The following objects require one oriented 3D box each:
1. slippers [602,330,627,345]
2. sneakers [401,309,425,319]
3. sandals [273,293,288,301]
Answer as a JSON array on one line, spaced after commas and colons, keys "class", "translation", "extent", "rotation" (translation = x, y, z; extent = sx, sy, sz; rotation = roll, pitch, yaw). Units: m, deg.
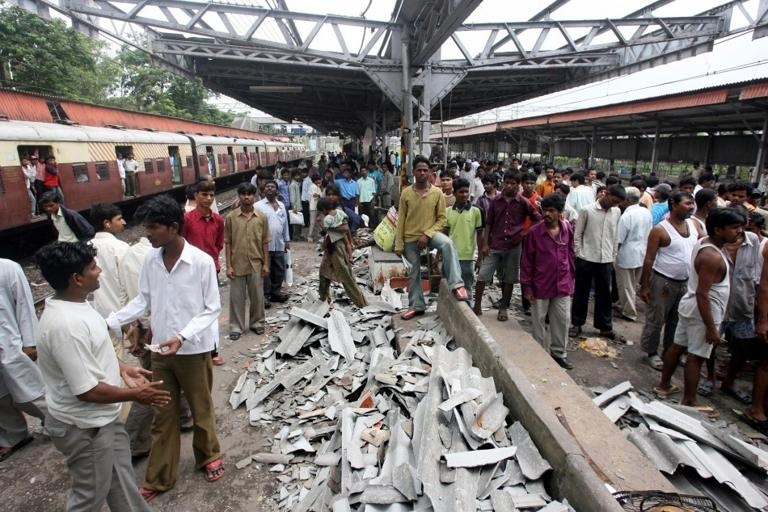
[{"class": "slippers", "translation": [3.628, 1.280, 6.893], "extent": [0.352, 0.149, 0.168], "rotation": [6, 15, 21]}, {"class": "sneakers", "translation": [0.472, 0.898, 6.785], "extent": [0.384, 0.150, 0.146], "rotation": [-2, 6, -16]}, {"class": "sandals", "translation": [-2.007, 0.802, 8.487], "extent": [0.321, 0.106, 0.134], "rotation": [-3, 1, 8]}]
